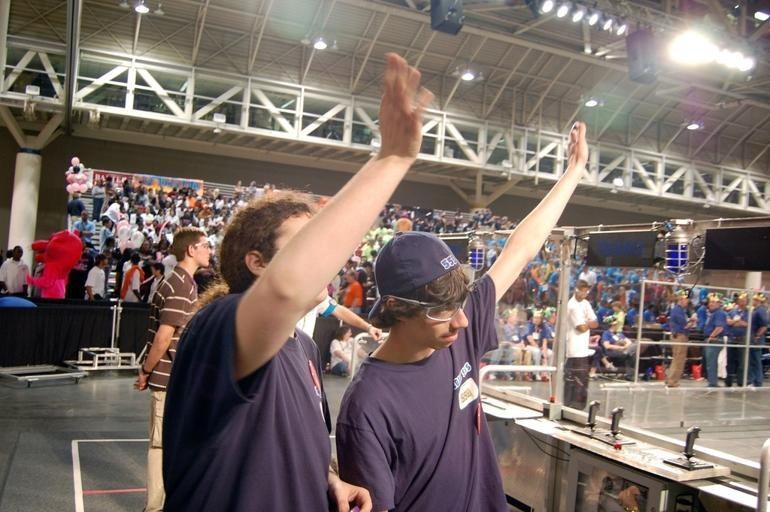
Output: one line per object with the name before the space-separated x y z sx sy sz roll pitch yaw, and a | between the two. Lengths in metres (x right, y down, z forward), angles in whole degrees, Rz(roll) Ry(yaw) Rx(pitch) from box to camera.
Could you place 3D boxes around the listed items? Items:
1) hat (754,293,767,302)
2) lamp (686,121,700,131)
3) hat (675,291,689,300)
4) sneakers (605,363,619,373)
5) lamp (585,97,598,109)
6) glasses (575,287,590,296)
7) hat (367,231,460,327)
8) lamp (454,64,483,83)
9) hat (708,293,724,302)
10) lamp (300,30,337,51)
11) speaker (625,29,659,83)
hat | 6.235 0.701 10.282 0.181 0.196 0.171 -3 -13 45
lamp | 10.855 -4.628 21.804 0.476 0.173 0.495 -3 -8 30
hat | 4.184 0.553 8.712 0.268 0.149 0.033 -12 16 -30
sneakers | 3.006 1.516 8.235 0.073 0.098 0.214 7 -10 -43
lamp | 7.193 -5.322 21.540 0.478 0.326 0.854 1 15 18
glasses | 2.537 0.468 7.950 0.133 0.136 0.103 -32 -17 27
hat | 0.153 0.155 4.978 0.679 0.427 0.479 -32 -1 43
lamp | 2.515 -5.665 19.133 0.798 0.466 1.402 -2 14 6
hat | 4.926 0.618 9.207 0.228 0.127 0.144 6 6 -40
lamp | -1.782 -6.017 17.242 0.759 0.274 0.764 0 6 -15
speaker | 6.270 -4.740 15.002 0.723 1.502 0.796 -13 36 10
